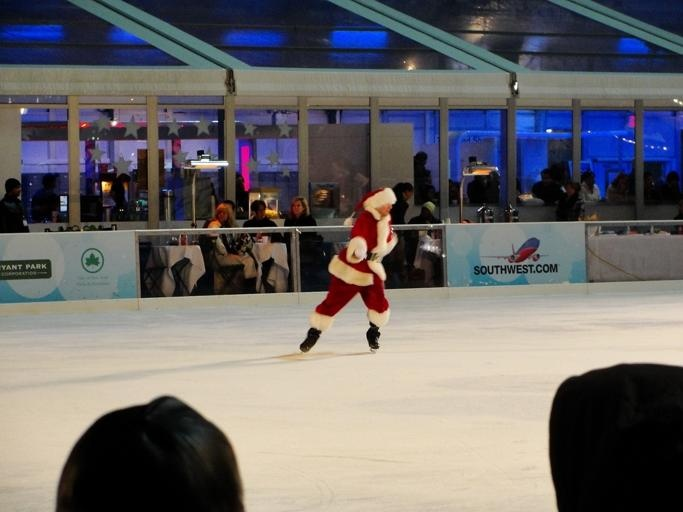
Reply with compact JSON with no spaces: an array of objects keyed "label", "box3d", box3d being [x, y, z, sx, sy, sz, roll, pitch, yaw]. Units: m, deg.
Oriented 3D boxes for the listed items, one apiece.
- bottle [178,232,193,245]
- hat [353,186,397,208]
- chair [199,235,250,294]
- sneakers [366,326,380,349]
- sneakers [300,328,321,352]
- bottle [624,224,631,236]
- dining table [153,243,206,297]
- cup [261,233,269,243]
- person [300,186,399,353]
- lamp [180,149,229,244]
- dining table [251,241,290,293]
[{"label":"bottle","box3d":[-2.182,-0.225,12.812,0.212,0.159,0.042,-1,2,-17]},{"label":"hat","box3d":[0.433,-0.658,10.654,0.314,0.135,0.236,-16,-6,40]},{"label":"chair","box3d":[-1.645,0.120,12.928,0.679,1.008,0.755,0,0,-6]},{"label":"sneakers","box3d":[0.362,0.910,10.332,0.145,0.261,0.380,0,2,2]},{"label":"sneakers","box3d":[-0.355,0.946,10.136,0.121,0.253,0.352,34,15,-4]},{"label":"bottle","box3d":[4.287,-0.384,13.673,0.118,0.187,0.097,3,6,23]},{"label":"dining table","box3d":[-2.377,0.153,13.002,0.699,0.718,0.705,2,7,-14]},{"label":"cup","box3d":[-1.091,-0.256,13.083,0.101,0.119,0.112,-1,-13,4]},{"label":"person","box3d":[0.128,0.122,10.514,1.079,1.808,0.795,-1,2,-6]},{"label":"lamp","box3d":[-2.521,-0.988,16.292,0.546,1.631,0.869,9,8,42]},{"label":"dining table","box3d":[-1.000,0.175,13.066,0.597,0.860,0.640,-1,2,-19]}]
